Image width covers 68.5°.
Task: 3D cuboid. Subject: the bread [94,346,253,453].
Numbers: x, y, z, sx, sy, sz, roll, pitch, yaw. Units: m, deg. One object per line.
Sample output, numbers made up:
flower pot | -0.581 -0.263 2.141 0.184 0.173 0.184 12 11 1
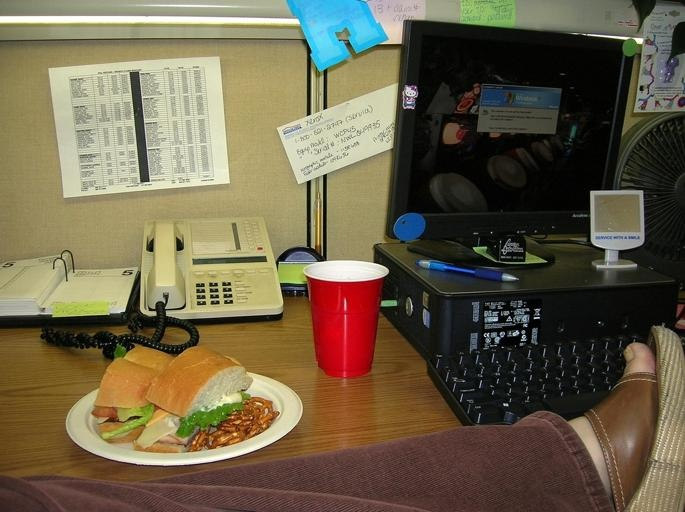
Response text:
bread | -0.224 0.165 0.670 0.178 0.057 0.170 11 18 35

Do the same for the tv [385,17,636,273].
tv | 0.314 -0.223 0.938 0.507 0.354 0.055 -6 17 -24

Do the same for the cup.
cup | 0.004 0.095 0.841 0.180 0.172 0.162 0 11 -1

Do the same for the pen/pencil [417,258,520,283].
pen/pencil | 0.211 0.025 0.852 0.152 0.015 0.016 9 28 26
